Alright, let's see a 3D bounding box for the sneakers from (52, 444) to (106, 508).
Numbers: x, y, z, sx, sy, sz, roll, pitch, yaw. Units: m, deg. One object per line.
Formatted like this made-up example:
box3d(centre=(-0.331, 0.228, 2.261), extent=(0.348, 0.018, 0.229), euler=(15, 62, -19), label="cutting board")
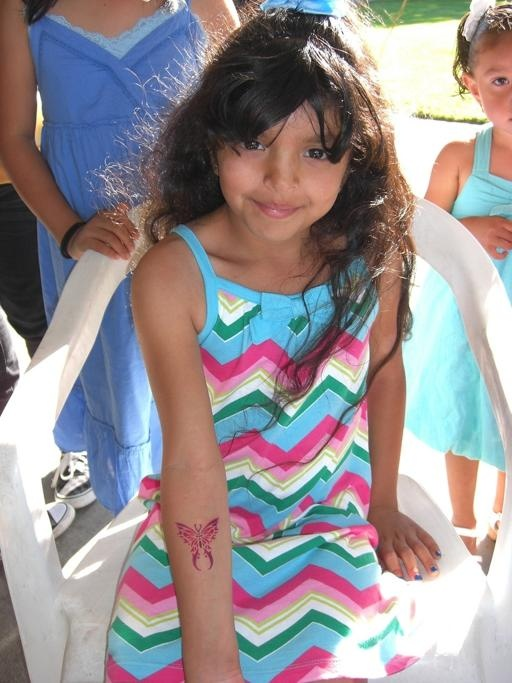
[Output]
box3d(centre=(-0.509, 0.390, 1.785), extent=(0.106, 0.115, 0.291), euler=(-8, 14, -11), label="sneakers")
